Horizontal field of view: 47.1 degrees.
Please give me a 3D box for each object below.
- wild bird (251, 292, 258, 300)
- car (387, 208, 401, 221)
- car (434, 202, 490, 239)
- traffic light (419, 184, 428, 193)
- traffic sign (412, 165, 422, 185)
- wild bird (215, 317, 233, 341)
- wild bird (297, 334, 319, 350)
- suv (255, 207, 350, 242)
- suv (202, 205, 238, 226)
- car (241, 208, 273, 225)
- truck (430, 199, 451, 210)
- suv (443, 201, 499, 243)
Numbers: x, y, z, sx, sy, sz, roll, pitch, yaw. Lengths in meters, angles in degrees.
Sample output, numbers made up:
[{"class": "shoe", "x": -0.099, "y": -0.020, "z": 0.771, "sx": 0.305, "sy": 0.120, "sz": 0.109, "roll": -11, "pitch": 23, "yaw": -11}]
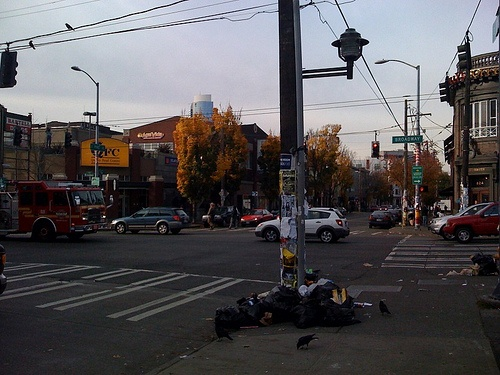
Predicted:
[{"class": "wild bird", "x": 0.114, "y": 2.584, "z": 13.755, "sx": 0.178, "sy": 0.201, "sz": 0.337, "roll": 4, "pitch": -3, "yaw": -7}, {"class": "car", "x": 14.357, "y": 2.704, "z": 56.696, "sx": 1.400, "sy": 1.260, "sz": 2.451, "roll": 1, "pitch": 5, "yaw": 16}, {"class": "car", "x": 10.302, "y": 1.558, "z": 27.359, "sx": 2.595, "sy": 1.175, "sz": 1.267, "roll": -1, "pitch": -2, "yaw": 8}, {"class": "traffic light", "x": 11.974, "y": 0.196, "z": 39.464, "sx": 0.416, "sy": 0.550, "sz": 0.788, "roll": -4, "pitch": -5, "yaw": 44}, {"class": "traffic sign", "x": 11.289, "y": -0.811, "z": 38.438, "sx": 0.585, "sy": 1.075, "sz": 0.762, "roll": -4, "pitch": -2, "yaw": 22}, {"class": "wild bird", "x": -0.572, "y": 2.921, "z": 11.802, "sx": 0.445, "sy": 0.456, "sz": 0.219, "roll": -14, "pitch": 8, "yaw": 43}, {"class": "wild bird", "x": 1.097, "y": 2.955, "z": 11.112, "sx": 0.386, "sy": 0.218, "sz": 0.580, "roll": -4, "pitch": -2, "yaw": 3}, {"class": "suv", "x": 2.577, "y": 1.947, "z": 28.642, "sx": 4.098, "sy": 1.591, "sz": 1.944, "roll": 1, "pitch": -2, "yaw": 10}, {"class": "suv", "x": -2.461, "y": 2.316, "z": 46.653, "sx": 1.258, "sy": 1.179, "sz": 2.560, "roll": -3, "pitch": -7, "yaw": 27}, {"class": "car", "x": 0.868, "y": 2.532, "z": 48.535, "sx": 1.173, "sy": 0.945, "sz": 2.710, "roll": -2, "pitch": -4, "yaw": 30}, {"class": "truck", "x": 25.013, "y": 2.159, "z": 74.846, "sx": 1.661, "sy": 1.247, "sz": 0.953, "roll": 1, "pitch": 7, "yaw": 15}, {"class": "suv", "x": 10.186, "y": 1.665, "z": 26.411, "sx": 2.476, "sy": 1.281, "sz": 1.293, "roll": 1, "pitch": -2, "yaw": 12}]
